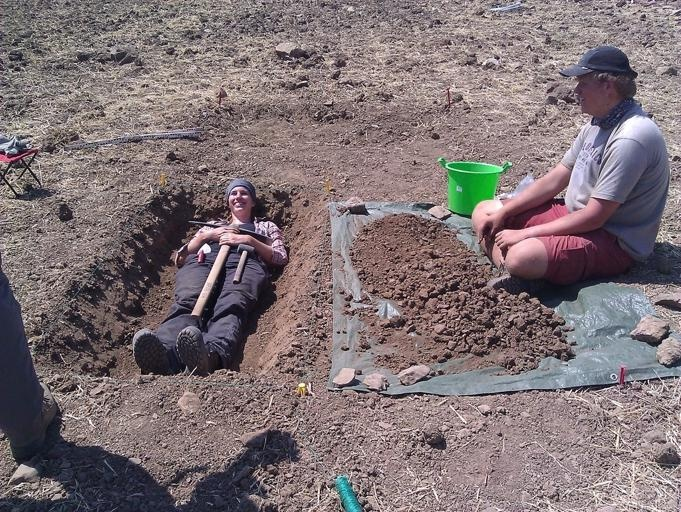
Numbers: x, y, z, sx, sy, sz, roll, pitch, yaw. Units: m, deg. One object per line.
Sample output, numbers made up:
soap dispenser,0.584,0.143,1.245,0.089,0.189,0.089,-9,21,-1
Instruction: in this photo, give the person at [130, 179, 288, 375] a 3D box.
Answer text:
person,-1.128,0.222,6.415,1.038,0.616,1.902,3,28,9

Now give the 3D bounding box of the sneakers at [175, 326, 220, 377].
sneakers,-1.155,0.759,5.765,0.222,0.481,0.245,-19,15,0

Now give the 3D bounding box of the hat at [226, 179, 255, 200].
hat,-1.039,-0.693,7.441,0.289,0.227,0.178,-15,17,1

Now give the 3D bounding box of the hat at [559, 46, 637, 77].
hat,2.073,-1.526,5.643,0.506,0.154,0.278,0,27,17

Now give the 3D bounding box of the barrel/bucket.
barrel/bucket,1.329,-0.668,7.160,0.889,0.518,0.610,10,37,12

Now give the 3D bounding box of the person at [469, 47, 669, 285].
person,1.979,-0.655,5.800,1.285,1.844,0.979,-3,41,-8

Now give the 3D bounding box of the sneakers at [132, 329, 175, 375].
sneakers,-1.512,0.751,5.699,0.260,0.412,0.270,-8,41,-13
